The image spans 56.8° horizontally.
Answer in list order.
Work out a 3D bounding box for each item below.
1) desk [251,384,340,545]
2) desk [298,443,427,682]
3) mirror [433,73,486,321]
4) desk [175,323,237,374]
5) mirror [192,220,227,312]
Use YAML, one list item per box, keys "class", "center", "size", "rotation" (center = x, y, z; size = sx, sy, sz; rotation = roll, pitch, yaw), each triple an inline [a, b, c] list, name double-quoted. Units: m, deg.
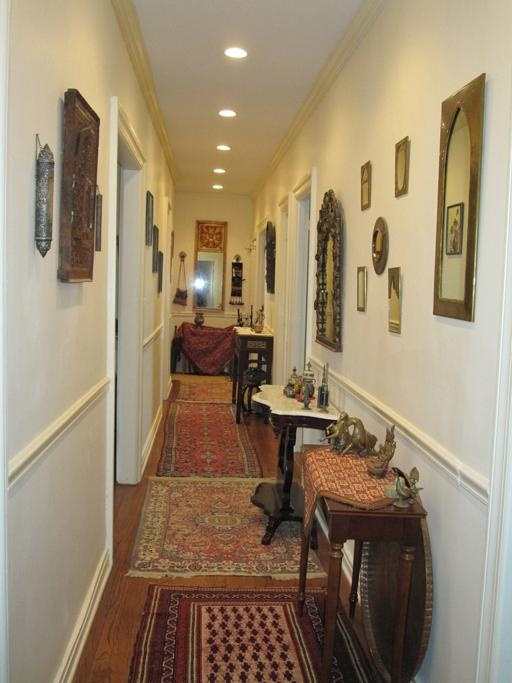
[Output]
- class: "desk"
  center: [0.202, 0.754, 3.212]
  size: [0.503, 1.165, 1.068]
  rotation: [2, 12, 0]
- class: "desk"
  center: [0.381, 0.799, 1.677]
  size: [0.229, 0.710, 0.663]
  rotation: [0, 13, -5]
- class: "mirror"
  center: [0.557, -0.379, 1.308]
  size: [0.046, 0.644, 0.264]
  rotation: [2, 2, 7]
- class: "desk"
  center: [-0.875, -0.012, 8.245]
  size: [0.775, 0.765, 0.896]
  rotation: [1, 9, -1]
- class: "mirror"
  center: [-0.847, -1.401, 8.792]
  size: [0.581, 1.617, 0.164]
  rotation: [1, 2, -10]
